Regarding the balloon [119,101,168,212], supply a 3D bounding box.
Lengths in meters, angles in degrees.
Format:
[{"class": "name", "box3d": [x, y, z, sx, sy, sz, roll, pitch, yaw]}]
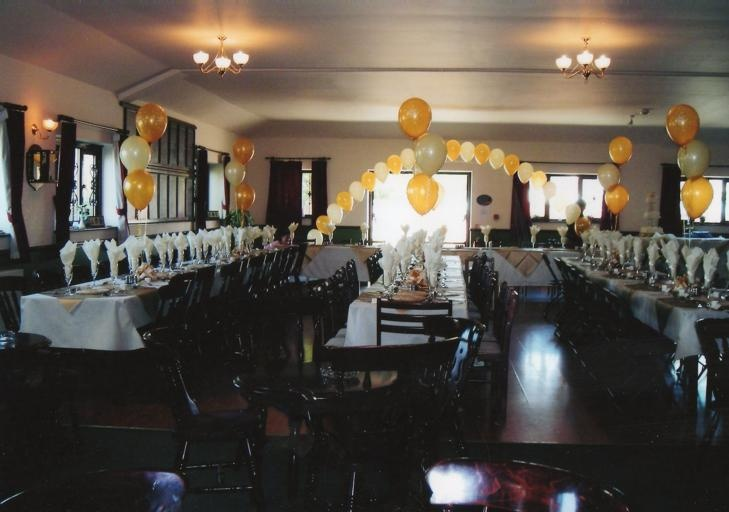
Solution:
[{"class": "balloon", "box3d": [-2.779, -1.251, 7.165, 0.460, 1.701, 0.486, 3, -10, -9]}]

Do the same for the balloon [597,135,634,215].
[{"class": "balloon", "box3d": [5.076, -1.711, 11.351, 0.542, 2.010, 0.559, -10, 16, -18]}]

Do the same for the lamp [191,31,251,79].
[{"class": "lamp", "box3d": [-1.987, -2.769, 7.732, 0.737, 0.583, 0.716, 10, 16, 30]}]

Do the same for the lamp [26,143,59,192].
[{"class": "lamp", "box3d": [-4.611, -1.275, 8.088, 0.231, 0.634, 0.511, 2, 5, 9]}]

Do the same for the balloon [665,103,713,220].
[{"class": "balloon", "box3d": [4.223, -1.261, 7.306, 0.552, 1.525, 0.751, 4, 6, 33]}]

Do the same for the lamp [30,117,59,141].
[{"class": "lamp", "box3d": [-4.604, -1.823, 8.014, 0.164, 0.242, 0.353, -2, 1, -43]}]
